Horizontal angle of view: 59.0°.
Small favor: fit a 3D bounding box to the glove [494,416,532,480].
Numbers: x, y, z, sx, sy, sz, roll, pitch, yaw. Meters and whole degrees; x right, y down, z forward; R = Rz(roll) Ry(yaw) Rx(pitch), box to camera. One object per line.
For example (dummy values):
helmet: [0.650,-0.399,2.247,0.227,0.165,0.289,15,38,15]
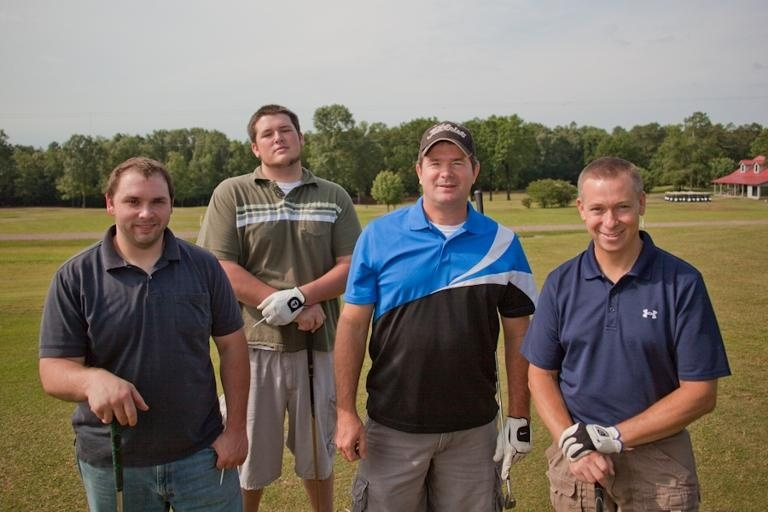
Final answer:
glove: [0.988,1.480,5.308,0.118,0.451,0.329,17,14,16]
